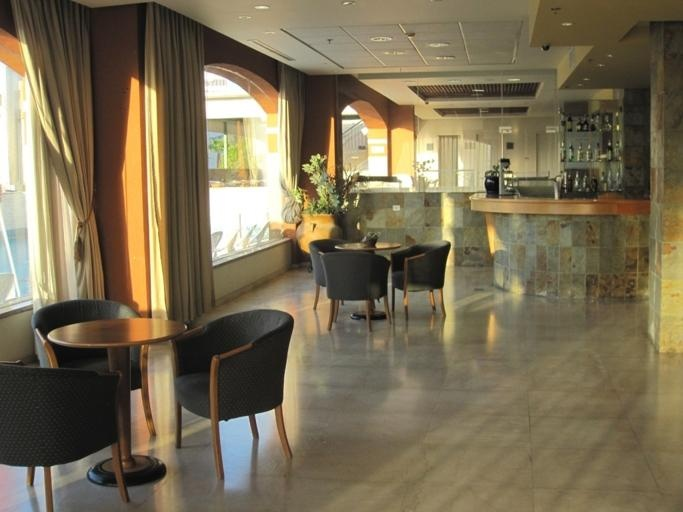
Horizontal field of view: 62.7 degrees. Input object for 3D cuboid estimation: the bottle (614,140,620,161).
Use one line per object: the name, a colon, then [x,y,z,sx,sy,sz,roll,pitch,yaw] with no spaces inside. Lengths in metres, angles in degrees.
bottle: [4.738,-1.785,9.574,0.043,0.327,0.150,-6,11,-29]

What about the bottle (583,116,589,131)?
bottle: [4.314,-2.309,9.874,0.115,0.223,0.067,3,10,25]

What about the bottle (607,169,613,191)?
bottle: [4.686,-1.300,9.742,0.097,0.345,0.039,7,12,40]

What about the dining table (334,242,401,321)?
dining table: [0.419,0.239,7.669,0.960,1.109,1.009,-1,7,-5]

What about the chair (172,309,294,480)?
chair: [-0.767,0.902,3.904,0.733,0.971,0.750,-4,6,-44]

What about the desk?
desk: [3.216,-0.108,7.993,2.062,1.093,1.451,1,4,39]

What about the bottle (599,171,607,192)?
bottle: [4.600,-1.283,9.831,0.051,0.360,0.157,-9,12,-39]

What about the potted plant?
potted plant: [-0.441,-0.984,10.796,1.151,1.927,1.380,2,10,19]

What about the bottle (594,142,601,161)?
bottle: [4.504,-1.818,9.816,0.048,0.288,0.115,-5,10,-23]

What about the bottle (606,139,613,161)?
bottle: [4.650,-1.823,9.660,0.107,0.328,0.030,5,11,33]

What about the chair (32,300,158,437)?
chair: [-1.885,0.828,4.198,0.757,0.924,0.678,-4,5,-41]

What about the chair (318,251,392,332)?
chair: [0.183,0.400,6.808,0.814,1.040,0.896,0,4,18]

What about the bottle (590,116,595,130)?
bottle: [4.405,-2.305,9.777,0.038,0.254,0.098,-7,11,-32]

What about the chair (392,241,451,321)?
chair: [1.018,0.288,7.298,0.733,0.952,0.869,0,9,5]

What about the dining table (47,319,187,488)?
dining table: [-1.427,0.981,3.909,0.903,1.051,0.950,-1,1,1]
